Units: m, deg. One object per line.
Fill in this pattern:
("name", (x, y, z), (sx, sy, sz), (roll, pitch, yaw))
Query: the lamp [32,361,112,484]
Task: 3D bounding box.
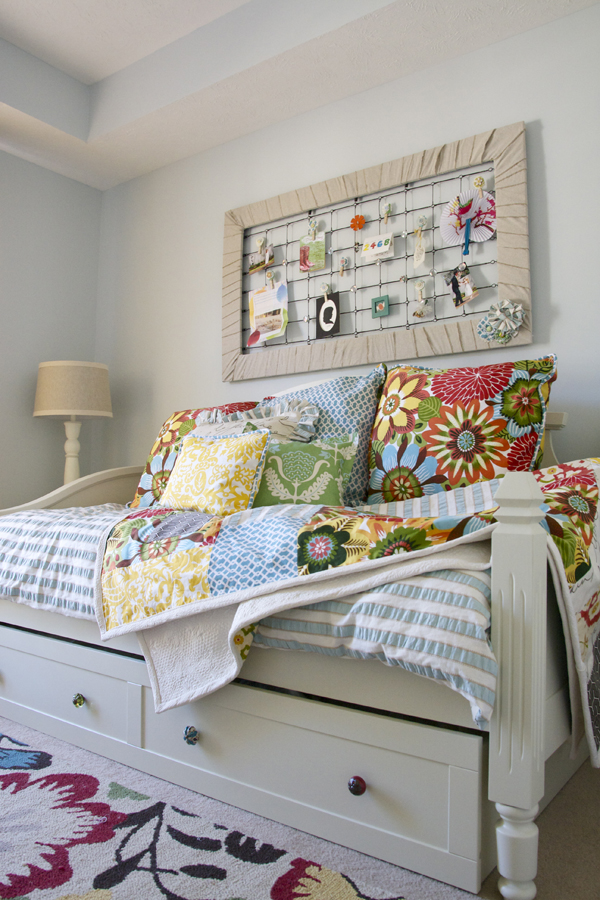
("lamp", (-0.961, -0.078, 3.023), (0.351, 0.542, 0.341), (3, -8, -32))
